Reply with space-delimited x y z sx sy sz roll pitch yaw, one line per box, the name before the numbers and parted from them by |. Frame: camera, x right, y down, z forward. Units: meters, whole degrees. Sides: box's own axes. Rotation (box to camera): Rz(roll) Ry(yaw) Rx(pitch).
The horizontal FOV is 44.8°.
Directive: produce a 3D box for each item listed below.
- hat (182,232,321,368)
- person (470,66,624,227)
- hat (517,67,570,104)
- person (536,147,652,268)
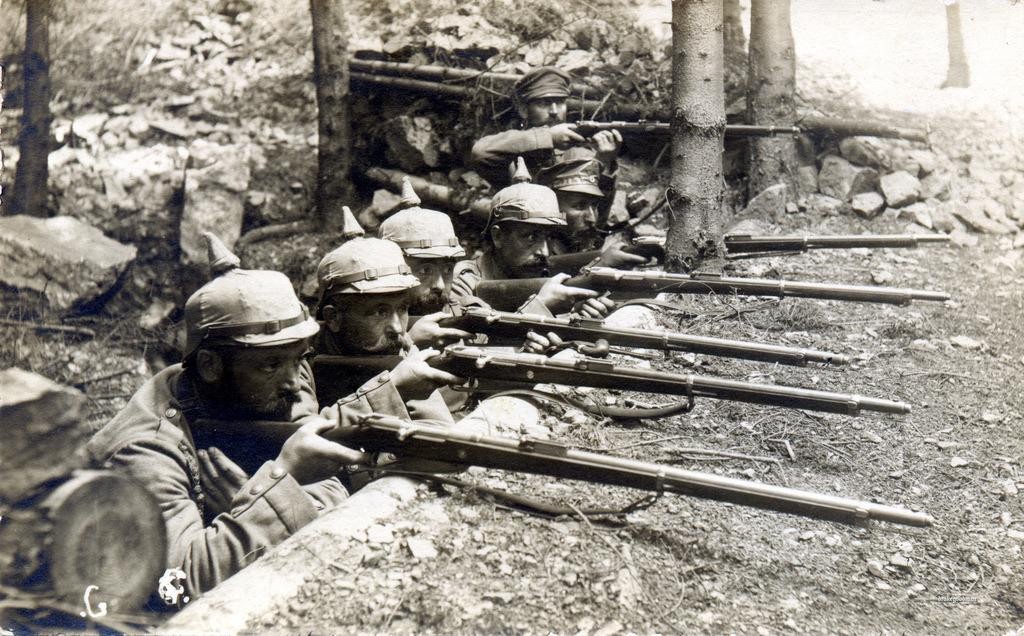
hat | -2.125 -0.164 9.850 1.096 0.886 0.863 6 15 12
person | 0.358 -1.951 12.963 1.090 0.542 1.589 7 -15 -10
hat | 0.310 -2.416 12.800 0.622 0.342 0.141 -9 17 -26
person | 0.850 -1.145 13.183 1.302 1.065 0.996 11 12 37
